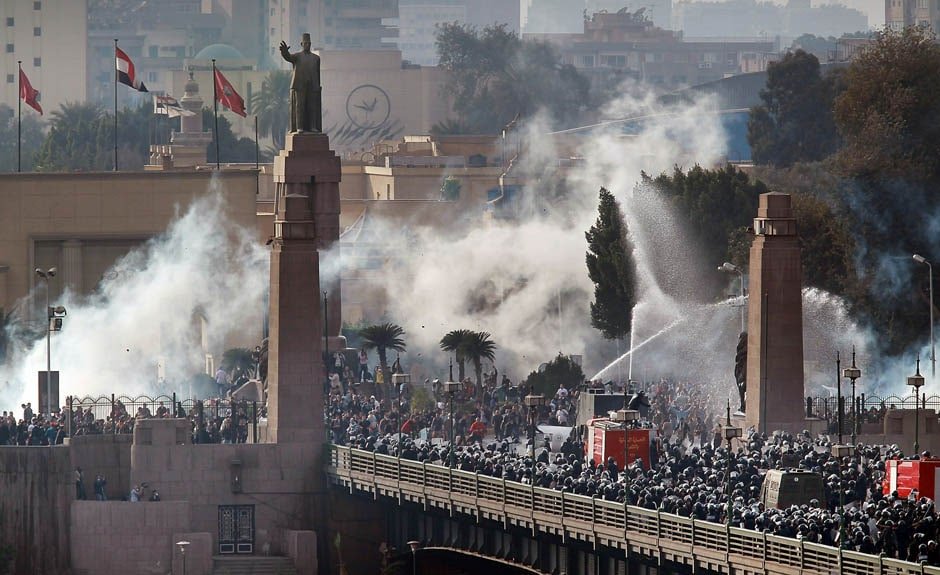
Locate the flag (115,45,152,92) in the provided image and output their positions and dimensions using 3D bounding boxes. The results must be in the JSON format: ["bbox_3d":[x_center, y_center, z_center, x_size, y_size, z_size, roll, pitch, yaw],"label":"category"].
[{"bbox_3d":[-24.791,-15.665,196.147,0.392,2.992,3.343,-11,-13,32],"label":"flag"}]

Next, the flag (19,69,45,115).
[{"bbox_3d":[-32.722,-14.611,197.691,1.562,3.782,0.369,-8,-31,-10],"label":"flag"}]

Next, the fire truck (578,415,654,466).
[{"bbox_3d":[9.415,9.646,168.525,4.105,3.029,1.943,3,1,-4],"label":"fire truck"}]

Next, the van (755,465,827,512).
[{"bbox_3d":[19.562,12.433,163.184,3.367,2.815,5.371,-2,1,-9],"label":"van"}]
